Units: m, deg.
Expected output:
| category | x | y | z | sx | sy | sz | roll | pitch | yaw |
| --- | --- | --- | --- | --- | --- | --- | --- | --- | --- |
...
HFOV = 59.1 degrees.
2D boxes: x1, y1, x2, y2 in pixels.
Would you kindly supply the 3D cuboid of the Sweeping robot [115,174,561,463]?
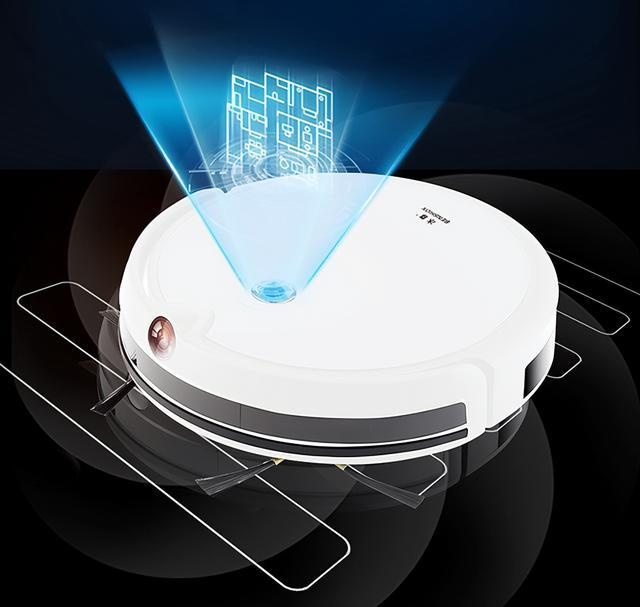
| category | x | y | z | sx | sy | sz | roll | pitch | yaw |
| --- | --- | --- | --- | --- | --- | --- | --- | --- | --- |
| Sweeping robot | 0.062 | -0.004 | 1.036 | 0.793 | 0.241 | 0.634 | -12 | 50 | -26 |
